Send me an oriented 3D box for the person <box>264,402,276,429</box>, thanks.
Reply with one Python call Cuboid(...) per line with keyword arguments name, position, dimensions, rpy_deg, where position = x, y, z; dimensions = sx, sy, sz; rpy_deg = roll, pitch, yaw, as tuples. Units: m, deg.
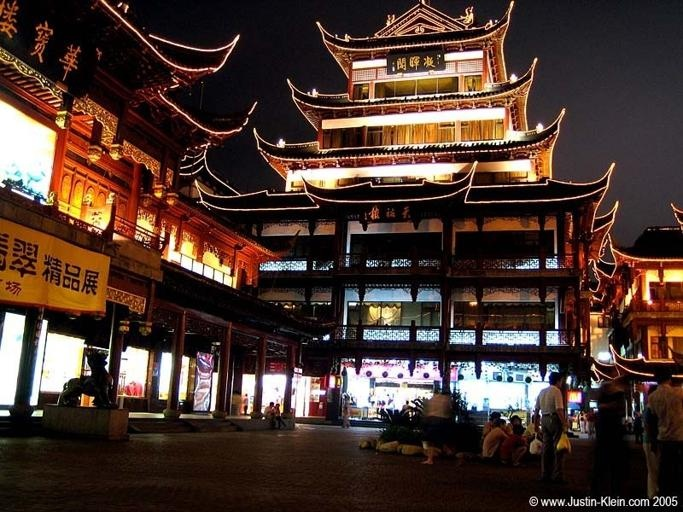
Cuboid(name="person", position=(-3.177, 7.085, 28.642), dimensions=(0.484, 1.111, 1.058), rpy_deg=(3, -18, -5))
